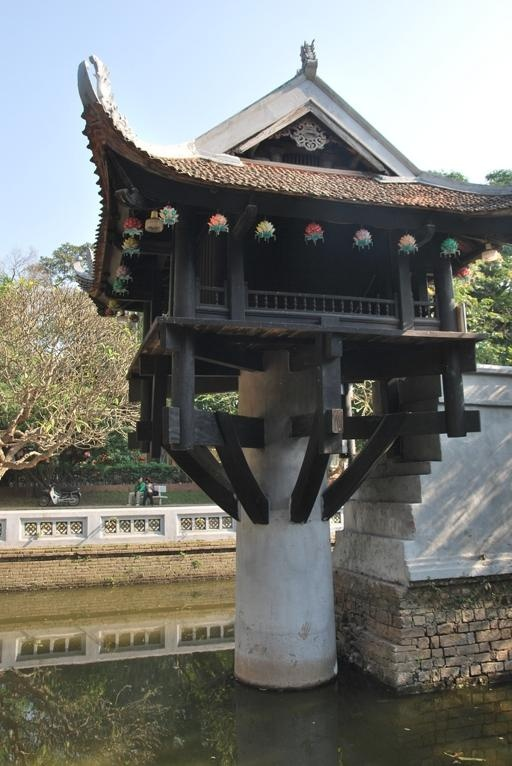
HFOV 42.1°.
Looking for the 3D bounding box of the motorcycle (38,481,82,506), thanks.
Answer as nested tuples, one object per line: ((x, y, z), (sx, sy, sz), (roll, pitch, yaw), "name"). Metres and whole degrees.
((-6.185, 3.488, 20.863), (1.075, 0.695, 0.518), (3, -30, -2), "motorcycle")
